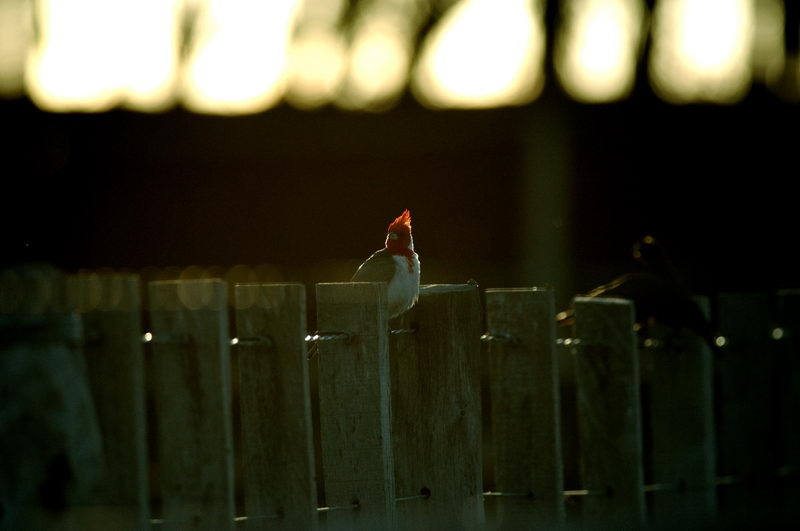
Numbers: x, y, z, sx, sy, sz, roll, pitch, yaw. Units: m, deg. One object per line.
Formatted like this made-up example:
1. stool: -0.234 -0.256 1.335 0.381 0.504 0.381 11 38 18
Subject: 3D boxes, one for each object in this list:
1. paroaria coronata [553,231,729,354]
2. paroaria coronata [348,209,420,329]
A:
1. paroaria coronata: 1.597 0.100 7.012 0.666 0.475 0.746 4 -18 22
2. paroaria coronata: -0.083 -0.006 8.462 0.431 0.823 0.713 -18 14 -32
